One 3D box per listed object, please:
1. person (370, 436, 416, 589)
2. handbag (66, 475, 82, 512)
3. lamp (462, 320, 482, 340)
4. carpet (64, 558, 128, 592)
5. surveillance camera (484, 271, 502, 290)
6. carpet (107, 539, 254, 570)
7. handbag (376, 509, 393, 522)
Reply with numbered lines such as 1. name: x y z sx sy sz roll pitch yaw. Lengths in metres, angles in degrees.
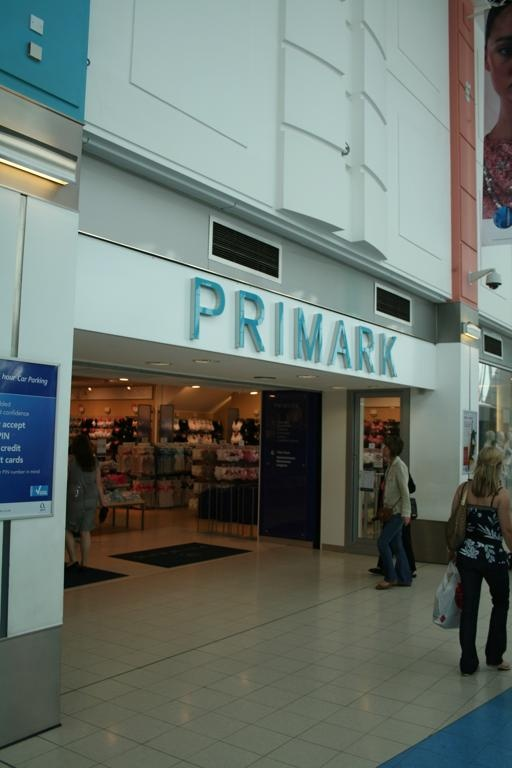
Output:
1. person: 1.570 1.476 6.517 0.365 1.695 0.660 0 -9 13
2. handbag: -2.085 1.262 6.492 0.167 0.338 0.056 -1 -9 15
3. lamp: 3.310 -0.798 8.788 0.074 0.344 0.617 -6 -11 40
4. carpet: -1.852 2.161 6.523 0.643 0.115 1.119 4 -9 -18
5. surveillance camera: 3.606 -1.609 8.668 0.177 0.244 0.683 -3 -9 26
6. carpet: -1.069 2.409 8.076 1.252 0.074 1.794 -4 -10 36
7. handbag: 1.476 1.483 6.419 0.160 0.166 0.061 -2 -15 38
